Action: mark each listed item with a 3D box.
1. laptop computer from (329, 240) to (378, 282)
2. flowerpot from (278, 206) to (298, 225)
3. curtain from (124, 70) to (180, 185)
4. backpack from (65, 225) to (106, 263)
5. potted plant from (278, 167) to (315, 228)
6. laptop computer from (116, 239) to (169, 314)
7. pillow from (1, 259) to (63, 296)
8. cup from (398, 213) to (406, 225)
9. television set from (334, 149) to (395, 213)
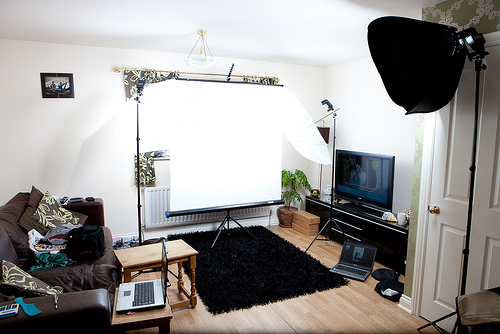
[{"bbox_3d":[1.441,1.281,4.881,0.570,0.318,0.605,3,9,26],"label":"laptop computer"},{"bbox_3d":[0.712,0.898,6.571,0.323,0.266,0.324,1,1,29],"label":"flowerpot"},{"bbox_3d":[-1.574,-0.626,5.565,0.716,1.803,0.221,-5,8,-25],"label":"curtain"},{"bbox_3d":[-2.070,0.874,4.251,0.512,0.486,0.368,-1,18,-22],"label":"backpack"},{"bbox_3d":[0.850,0.562,6.527,0.705,1.091,0.627,-3,7,-10],"label":"potted plant"},{"bbox_3d":[-1.047,1.061,3.386,0.483,0.527,0.384,-3,7,-13],"label":"laptop computer"},{"bbox_3d":[-2.096,1.080,3.325,0.464,0.138,0.331,20,4,-35],"label":"pillow"},{"bbox_3d":[2.110,0.716,4.852,0.114,0.144,0.139,-3,4,-41],"label":"cup"},{"bbox_3d":[1.727,0.236,5.541,1.253,0.925,0.303,10,-7,-26],"label":"television set"}]
